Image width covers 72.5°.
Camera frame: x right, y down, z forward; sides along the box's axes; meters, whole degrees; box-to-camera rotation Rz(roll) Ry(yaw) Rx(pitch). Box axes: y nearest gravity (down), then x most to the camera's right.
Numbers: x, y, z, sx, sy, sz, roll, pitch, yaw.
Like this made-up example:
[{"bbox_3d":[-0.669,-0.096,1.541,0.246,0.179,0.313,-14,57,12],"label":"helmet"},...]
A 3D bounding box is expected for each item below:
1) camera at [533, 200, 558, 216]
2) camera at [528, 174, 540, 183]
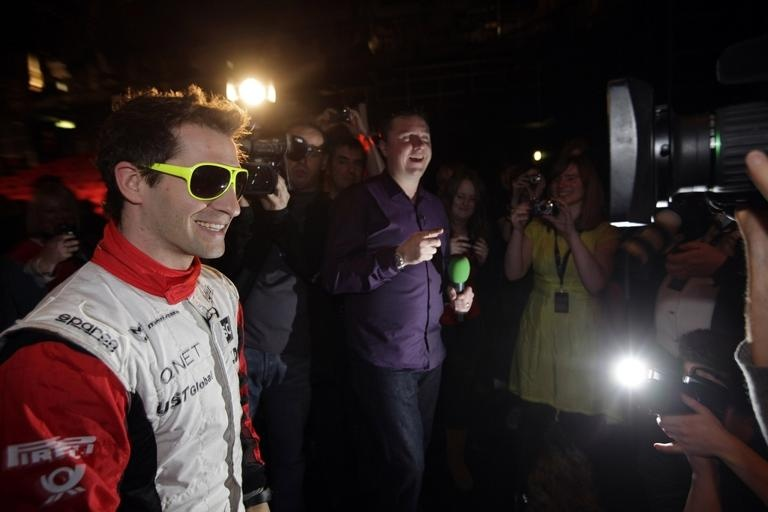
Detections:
[{"bbox_3d":[1.363,-0.408,4.425,0.180,0.125,0.129,-1,-7,24],"label":"camera"},{"bbox_3d":[1.351,-0.699,4.716,0.080,0.076,0.030,4,-8,31],"label":"camera"}]
